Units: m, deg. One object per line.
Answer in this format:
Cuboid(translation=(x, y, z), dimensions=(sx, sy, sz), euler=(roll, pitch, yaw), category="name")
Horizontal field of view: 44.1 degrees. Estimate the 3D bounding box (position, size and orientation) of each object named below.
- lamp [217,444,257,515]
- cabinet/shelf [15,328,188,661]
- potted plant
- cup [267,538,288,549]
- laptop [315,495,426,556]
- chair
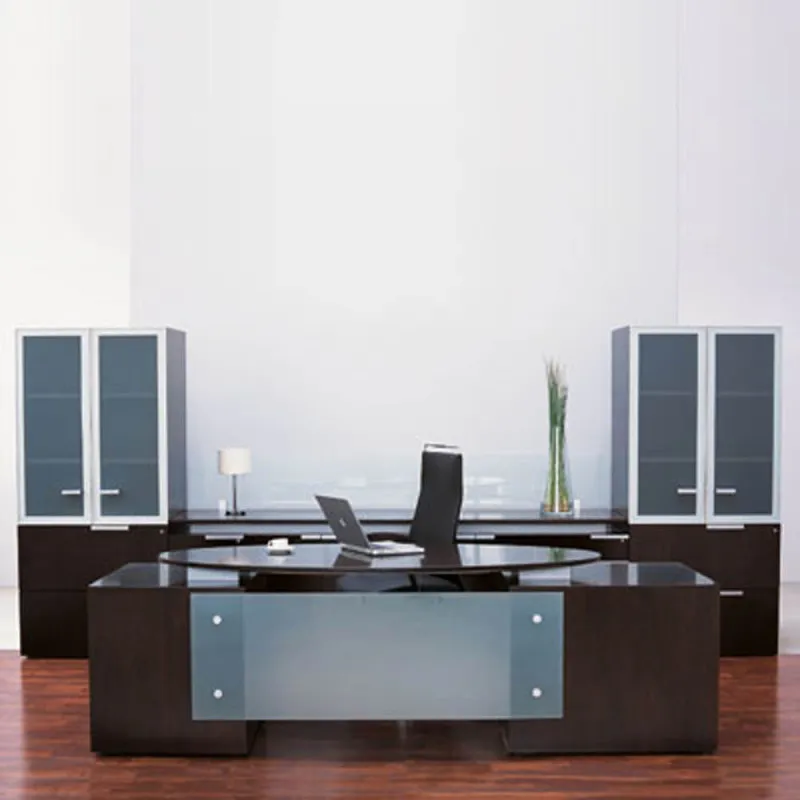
Cuboid(translation=(-1.096, 0.541, 6.562), dimensions=(0.207, 0.473, 0.252), euler=(-2, -6, 7), category="lamp")
Cuboid(translation=(-2.033, 0.724, 6.429), dimensions=(0.935, 2.167, 0.630), euler=(3, -26, -26), category="cabinet/shelf")
Cuboid(translation=(1.069, 0.237, 6.695), dimensions=(0.227, 1.107, 0.442), euler=(-2, -6, 8), category="potted plant")
Cuboid(translation=(-0.611, 0.712, 4.866), dimensions=(0.090, 0.052, 0.071), euler=(-2, 2, 7), category="cup")
Cuboid(translation=(-0.154, 0.635, 4.830), dimensions=(0.324, 0.238, 0.352), euler=(0, -3, -24), category="laptop")
Cuboid(translation=(0.066, 0.702, 5.461), dimensions=(0.556, 0.785, 0.463), euler=(-6, 7, -43), category="chair")
